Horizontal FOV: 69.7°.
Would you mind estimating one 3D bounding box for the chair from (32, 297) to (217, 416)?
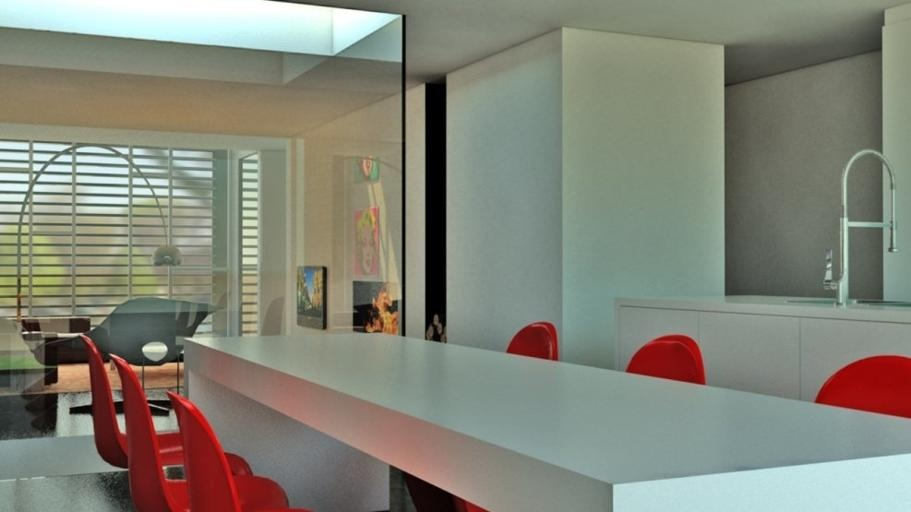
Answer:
[{"bbox_3d":[-2.607,0.803,5.310,1.206,0.701,0.848,5,-12,-21],"label":"chair"}]

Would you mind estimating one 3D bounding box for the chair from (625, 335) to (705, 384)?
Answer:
[{"bbox_3d":[1.146,0.501,3.375,0.374,0.169,0.469,3,9,36],"label":"chair"}]
